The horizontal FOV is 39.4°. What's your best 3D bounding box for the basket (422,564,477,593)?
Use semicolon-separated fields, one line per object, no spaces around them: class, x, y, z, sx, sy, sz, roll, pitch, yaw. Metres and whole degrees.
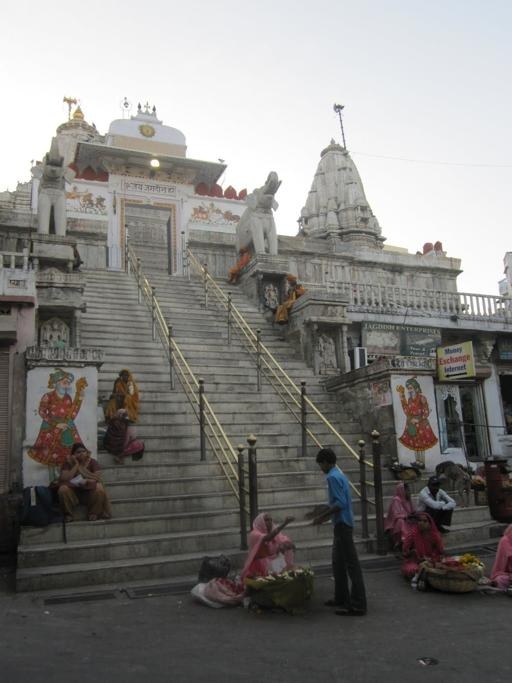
basket;1.911;2.344;7.052;0.543;0.266;0.261;0;1;19

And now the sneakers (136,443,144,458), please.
sneakers;-1.551;1.469;9.701;0.139;0.172;0.174;3;13;-3

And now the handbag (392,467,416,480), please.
handbag;2.228;1.975;10.739;0.264;0.119;0.195;-3;0;-27

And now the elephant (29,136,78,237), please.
elephant;-4.532;-3.408;15.960;0.779;2.126;1.203;-1;1;-17

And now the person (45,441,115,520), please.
person;-2.074;1.647;8.538;0.697;0.864;0.584;-1;-10;-6

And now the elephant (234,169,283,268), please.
elephant;0.115;-3.220;18.284;0.893;2.116;1.341;-1;1;-15

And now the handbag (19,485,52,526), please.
handbag;-2.474;1.862;8.115;0.332;0.396;0.361;-1;1;-16

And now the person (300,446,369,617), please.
person;0.749;1.715;6.628;0.521;1.453;0.912;0;1;5

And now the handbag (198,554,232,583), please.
handbag;-0.408;2.241;7.089;0.251;0.313;0.299;12;-39;-28

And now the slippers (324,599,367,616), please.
slippers;0.763;2.359;6.341;0.119;0.138;0.350;14;-26;-43

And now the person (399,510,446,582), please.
person;1.816;2.238;7.747;0.549;0.707;0.486;4;-10;-20
